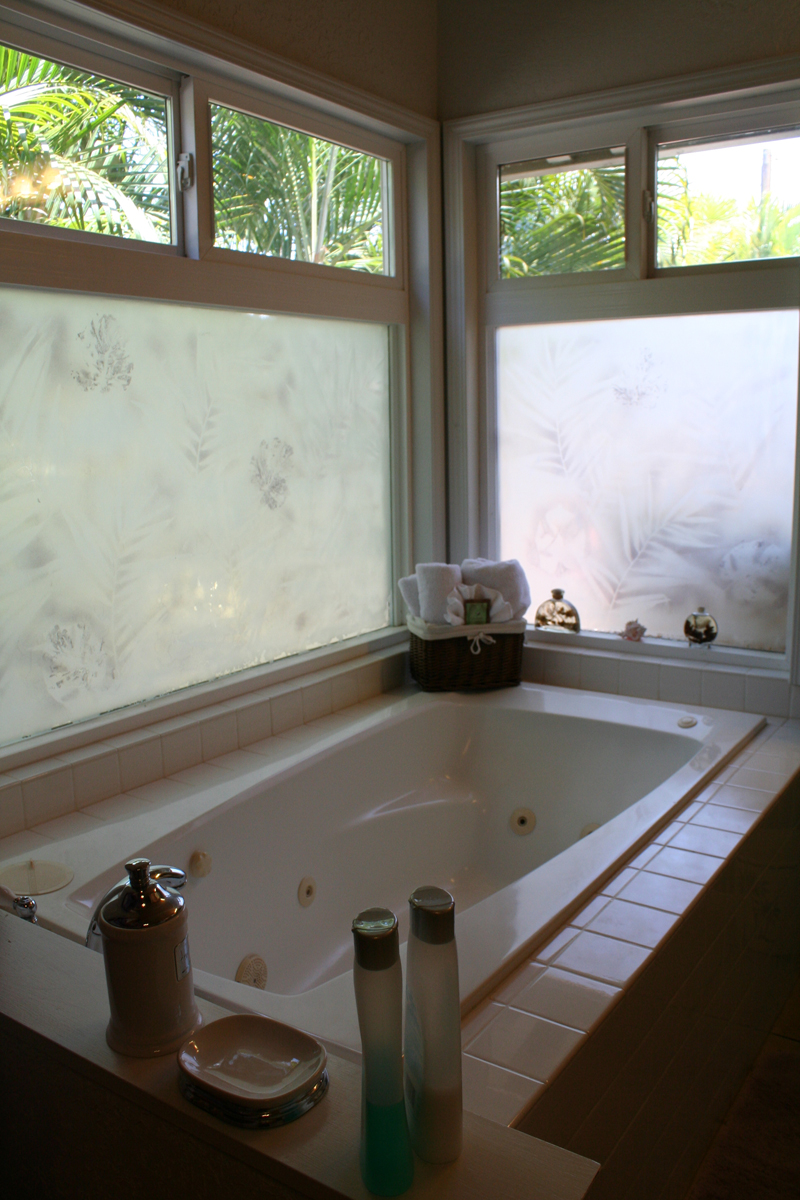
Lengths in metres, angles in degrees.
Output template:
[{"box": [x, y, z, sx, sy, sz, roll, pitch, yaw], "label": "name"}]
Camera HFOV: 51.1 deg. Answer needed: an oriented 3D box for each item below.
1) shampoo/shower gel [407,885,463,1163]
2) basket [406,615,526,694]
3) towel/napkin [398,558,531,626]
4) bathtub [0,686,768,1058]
[{"box": [0.023, 0.313, 0.613, 0.041, 0.215, 0.067, 0, 6, 1], "label": "shampoo/shower gel"}, {"box": [0.204, 0.178, 2.456, 0.284, 0.186, 0.208, -4, 8, -26], "label": "basket"}, {"box": [0.186, -0.016, 2.462, 0.375, 0.182, 0.137, 0, 7, 5], "label": "towel/napkin"}, {"box": [0.150, 0.521, 1.896, 0.653, 0.281, 1.063, 7, 14, 32], "label": "bathtub"}]
